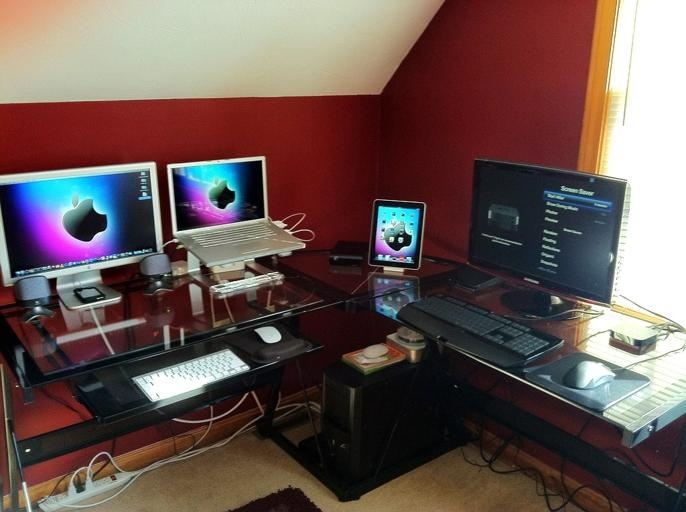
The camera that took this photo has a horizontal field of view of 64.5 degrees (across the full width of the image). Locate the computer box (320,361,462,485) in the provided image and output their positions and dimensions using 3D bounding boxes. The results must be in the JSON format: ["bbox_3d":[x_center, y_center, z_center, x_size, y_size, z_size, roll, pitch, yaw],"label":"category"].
[{"bbox_3d":[0.179,0.767,2.723,0.610,0.445,0.368,-7,9,-33],"label":"computer box"}]

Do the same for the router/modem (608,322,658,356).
[{"bbox_3d":[1.049,0.296,1.958,0.148,0.054,0.174,9,24,35],"label":"router/modem"}]

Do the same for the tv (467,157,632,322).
[{"bbox_3d":[0.836,-0.062,2.140,0.080,0.607,0.787,-6,17,-27],"label":"tv"}]

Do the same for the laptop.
[{"bbox_3d":[-0.558,-0.216,2.469,0.631,0.514,0.208,-10,19,-39],"label":"laptop"}]

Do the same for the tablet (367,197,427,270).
[{"bbox_3d":[0.249,-0.093,2.492,0.323,0.417,0.032,8,8,8],"label":"tablet"}]

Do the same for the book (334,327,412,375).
[{"bbox_3d":[0.156,0.449,2.554,0.203,0.052,0.155,-13,23,-38],"label":"book"}]

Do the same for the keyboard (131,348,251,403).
[{"bbox_3d":[-0.589,0.463,2.106,0.421,0.048,0.184,-14,21,-23],"label":"keyboard"}]

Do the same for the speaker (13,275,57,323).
[{"bbox_3d":[-1.173,0.145,2.100,0.163,0.183,0.166,-4,16,-22],"label":"speaker"}]
